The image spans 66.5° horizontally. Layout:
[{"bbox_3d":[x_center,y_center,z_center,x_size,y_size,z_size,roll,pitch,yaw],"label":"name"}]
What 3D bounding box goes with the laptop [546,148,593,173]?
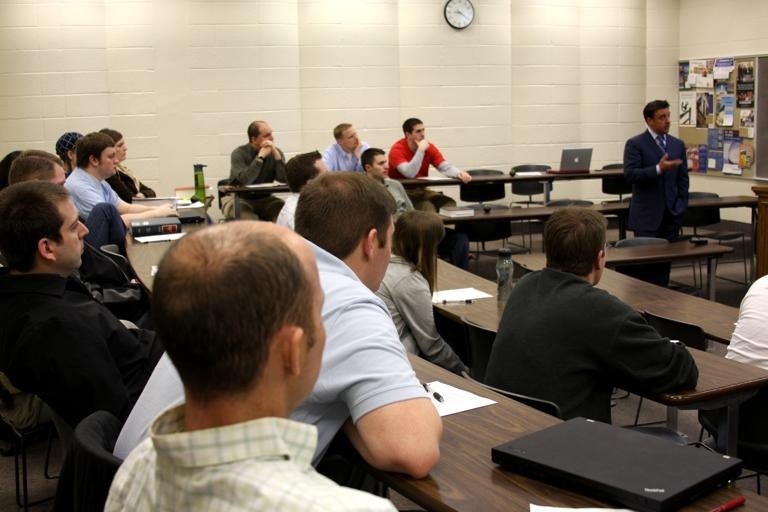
[{"bbox_3d":[2.507,-1.250,7.669,0.408,0.270,0.334,-1,9,-17],"label":"laptop"}]
